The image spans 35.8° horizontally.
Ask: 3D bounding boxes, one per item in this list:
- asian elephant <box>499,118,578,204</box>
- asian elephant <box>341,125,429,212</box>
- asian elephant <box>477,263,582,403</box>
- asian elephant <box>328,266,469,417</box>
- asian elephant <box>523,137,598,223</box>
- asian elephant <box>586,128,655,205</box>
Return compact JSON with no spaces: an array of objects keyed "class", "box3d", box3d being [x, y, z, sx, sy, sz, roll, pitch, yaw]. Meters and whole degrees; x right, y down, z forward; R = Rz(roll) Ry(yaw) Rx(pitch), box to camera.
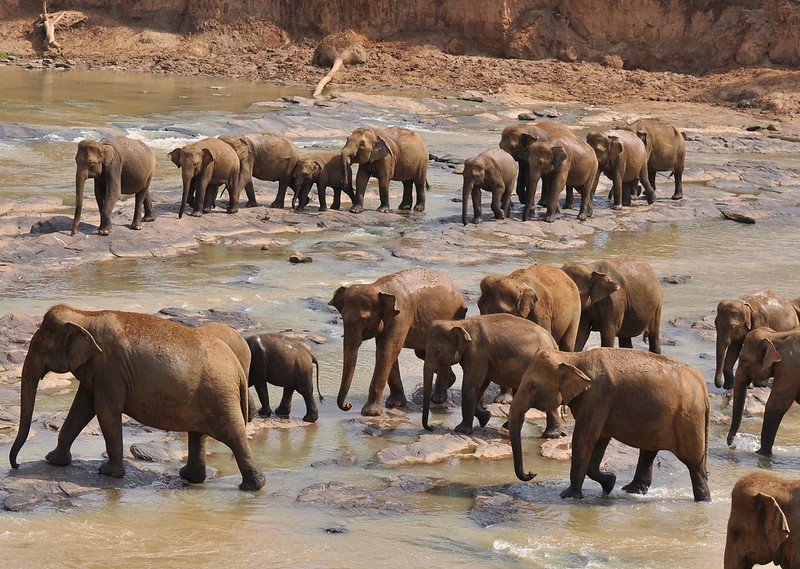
[{"class":"asian elephant","box3d":[2.704,-2.448,25.473,2.310,1.594,1.099,1,5,-33]},{"class":"asian elephant","box3d":[-0.322,-2.207,24.102,2.173,1.595,1.071,-4,10,-39]},{"class":"asian elephant","box3d":[1.447,0.516,14.623,0.824,1.359,1.920,10,11,42]},{"class":"asian elephant","box3d":[-0.035,0.705,14.564,1.141,1.616,2.009,5,7,43]},{"class":"asian elephant","box3d":[3.115,-2.035,24.165,2.104,1.609,0.884,-4,7,-42]},{"class":"asian elephant","box3d":[4.444,-2.387,25.743,1.033,1.551,2.763,0,2,40]}]
